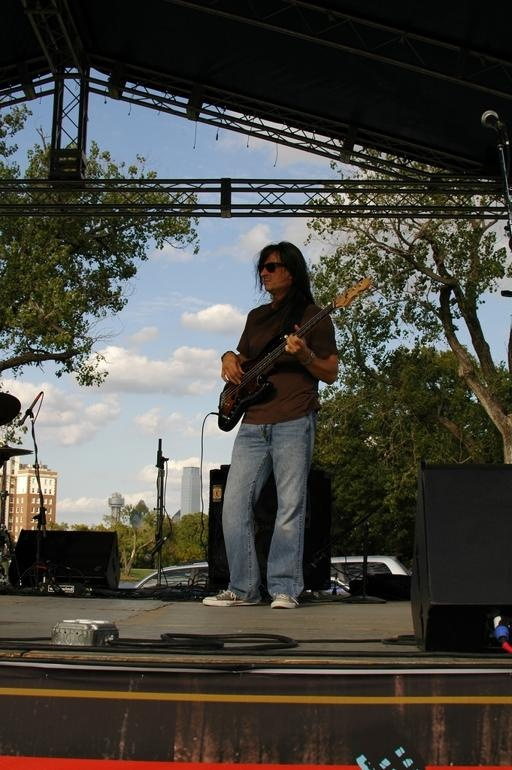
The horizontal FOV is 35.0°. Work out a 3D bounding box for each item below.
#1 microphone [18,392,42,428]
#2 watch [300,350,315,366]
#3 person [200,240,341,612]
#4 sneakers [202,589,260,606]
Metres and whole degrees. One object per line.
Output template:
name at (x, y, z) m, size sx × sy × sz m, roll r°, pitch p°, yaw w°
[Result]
microphone at (-1.474, 0.139, 5.366) m, size 0.136 × 0.259 × 0.326 m, roll 4°, pitch -11°, yaw -15°
watch at (0.204, -0.107, 3.195) m, size 0.020 × 0.052 × 0.045 m, roll 43°, pitch -14°, yaw 16°
person at (0.059, 0.123, 3.422) m, size 0.612 × 1.558 × 0.572 m, roll -5°, pitch -12°, yaw 30°
sneakers at (-0.096, 0.863, 3.231) m, size 0.214 × 0.080 × 0.076 m, roll 12°, pitch -26°, yaw -15°
